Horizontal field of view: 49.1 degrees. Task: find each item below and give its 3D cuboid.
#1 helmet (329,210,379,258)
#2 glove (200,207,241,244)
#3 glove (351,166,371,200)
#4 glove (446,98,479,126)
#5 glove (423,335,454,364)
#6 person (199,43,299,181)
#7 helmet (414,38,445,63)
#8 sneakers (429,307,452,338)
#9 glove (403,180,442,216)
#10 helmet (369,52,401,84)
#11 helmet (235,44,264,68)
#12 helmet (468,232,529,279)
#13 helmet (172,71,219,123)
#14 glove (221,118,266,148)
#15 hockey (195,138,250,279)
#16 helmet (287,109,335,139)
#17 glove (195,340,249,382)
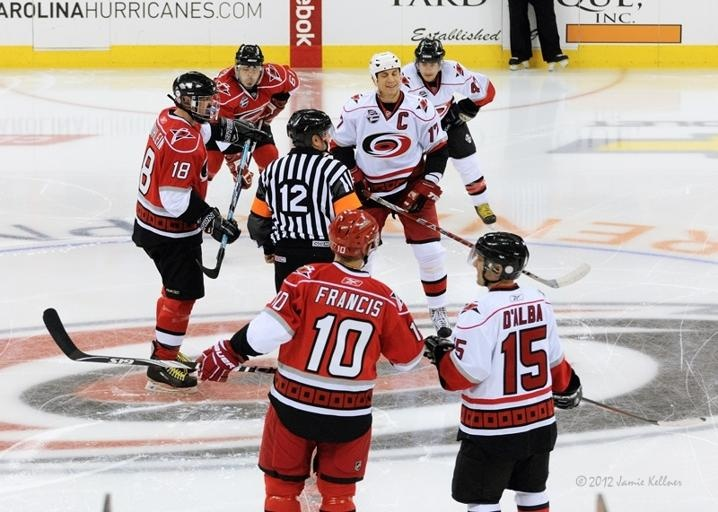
[{"bbox_3d":[0.010,-0.105,3.530,0.198,0.203,0.223,9,45,13],"label":"helmet"},{"bbox_3d":[-0.861,-0.169,4.753,0.250,0.109,0.173,31,56,-8],"label":"glove"},{"bbox_3d":[0.009,-0.491,5.272,0.164,0.189,0.082,4,13,23],"label":"glove"},{"bbox_3d":[0.841,-1.202,6.502,0.195,0.127,0.309,9,-23,-30],"label":"glove"},{"bbox_3d":[0.369,0.438,3.681,0.119,0.053,0.152,-23,28,-32],"label":"glove"},{"bbox_3d":[-0.967,-1.150,6.924,1.005,1.448,0.573,-15,35,-30],"label":"person"},{"bbox_3d":[0.538,-1.595,6.056,0.226,0.200,0.231,-1,16,2],"label":"helmet"},{"bbox_3d":[0.566,0.451,5.348,0.083,0.100,0.243,-18,28,6],"label":"sneakers"},{"bbox_3d":[0.416,-0.404,5.304,0.203,0.245,0.108,37,6,-9],"label":"glove"},{"bbox_3d":[0.169,-1.224,5.056,0.181,0.171,0.214,0,16,4],"label":"helmet"},{"bbox_3d":[-0.914,-1.679,6.519,0.245,0.252,0.273,-1,24,-9],"label":"helmet"},{"bbox_3d":[0.654,-0.004,3.638,0.268,0.202,0.190,6,8,16],"label":"helmet"},{"bbox_3d":[-1.005,-0.992,4.759,0.341,0.270,0.239,7,25,13],"label":"helmet"},{"bbox_3d":[-0.806,-0.864,5.470,0.264,0.095,0.232,-2,16,-25],"label":"glove"},{"bbox_3d":[-1.015,-0.342,5.867,0.239,1.192,0.175,28,-28,-23],"label":"hockey"},{"bbox_3d":[-0.276,-0.735,4.413,0.224,0.174,0.165,-22,23,-7],"label":"helmet"},{"bbox_3d":[-0.636,0.487,3.574,0.243,0.178,0.097,-29,25,29],"label":"glove"}]
